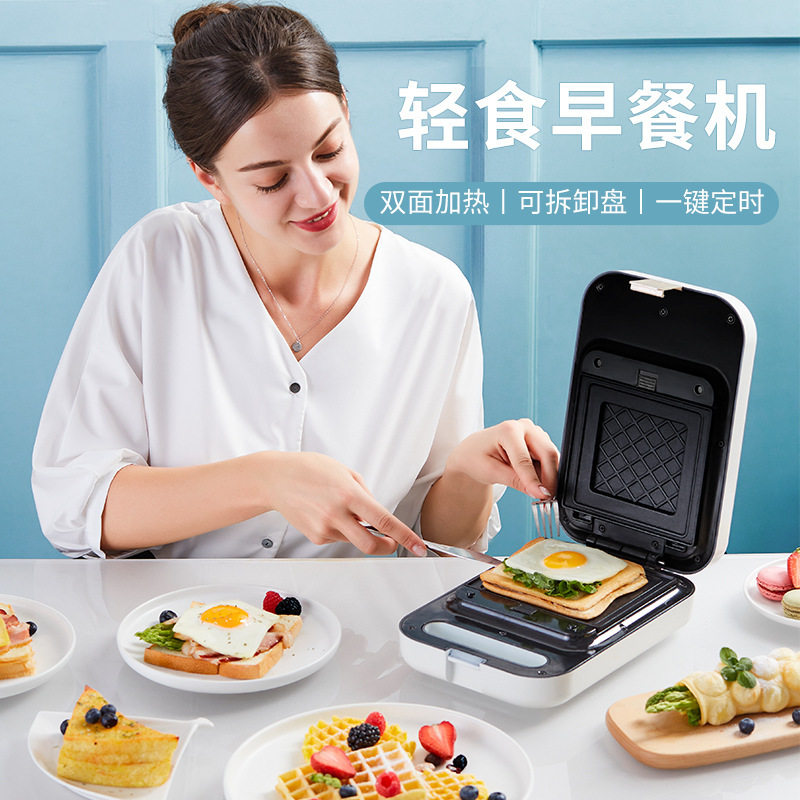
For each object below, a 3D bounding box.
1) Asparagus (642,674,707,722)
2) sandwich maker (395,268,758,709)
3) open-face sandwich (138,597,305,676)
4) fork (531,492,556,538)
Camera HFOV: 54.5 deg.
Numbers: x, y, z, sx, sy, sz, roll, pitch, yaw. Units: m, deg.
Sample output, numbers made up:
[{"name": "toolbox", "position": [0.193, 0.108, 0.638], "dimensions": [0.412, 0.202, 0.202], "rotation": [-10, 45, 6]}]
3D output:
[{"name": "Asparagus", "position": [0.353, 0.387, 0.994], "dimensions": [0.057, 0.023, 0.055], "rotation": [-25, 54, -36]}, {"name": "sandwich maker", "position": [0.272, 0.137, 1.225], "dimensions": [0.593, 0.515, 0.327], "rotation": [-21, 25, -39]}, {"name": "open-face sandwich", "position": [-0.276, 0.358, 1.173], "dimensions": [0.134, 0.040, 0.126], "rotation": [5, 14, 21]}, {"name": "fork", "position": [0.294, 0.235, 1.556], "dimensions": [0.062, 0.093, 0.025], "rotation": [3, 16, 44]}]
